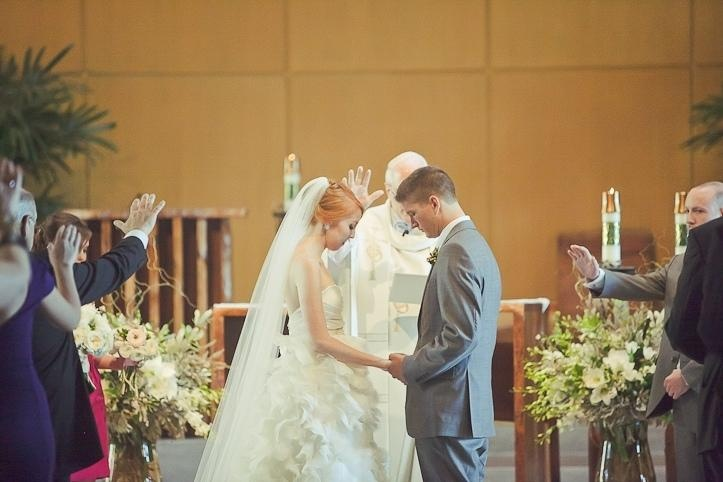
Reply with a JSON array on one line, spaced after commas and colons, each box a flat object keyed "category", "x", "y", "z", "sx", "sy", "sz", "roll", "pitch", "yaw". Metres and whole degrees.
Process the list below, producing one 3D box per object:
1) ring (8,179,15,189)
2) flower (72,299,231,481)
[{"category": "ring", "x": -2.363, "y": -0.377, "z": 9.478, "sx": 0.045, "sy": 0.063, "sz": 0.020, "roll": 1, "pitch": 2, "yaw": -25}, {"category": "flower", "x": -1.643, "y": 1.136, "z": 11.005, "sx": 1.259, "sy": 1.455, "sz": 1.161, "roll": -2, "pitch": 3, "yaw": -5}]
